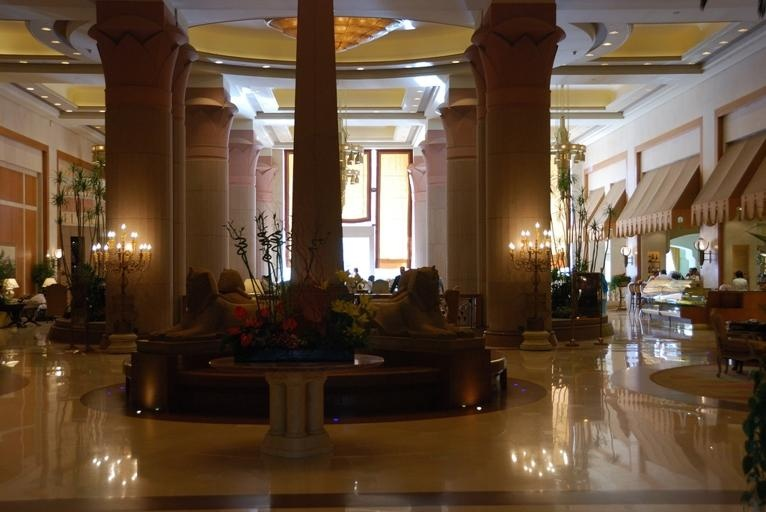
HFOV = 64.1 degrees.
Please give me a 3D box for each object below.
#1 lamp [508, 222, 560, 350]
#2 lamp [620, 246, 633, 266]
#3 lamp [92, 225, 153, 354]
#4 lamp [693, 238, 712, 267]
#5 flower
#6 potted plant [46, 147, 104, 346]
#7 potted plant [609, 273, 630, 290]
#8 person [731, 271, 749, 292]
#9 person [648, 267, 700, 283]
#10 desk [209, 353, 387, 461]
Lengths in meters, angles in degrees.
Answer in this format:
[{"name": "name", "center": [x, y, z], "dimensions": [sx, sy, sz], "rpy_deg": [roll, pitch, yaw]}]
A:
[{"name": "lamp", "center": [3.212, 0.620, 13.121], "dimensions": [0.970, 2.735, 0.700], "rpy_deg": [0, -3, -2]}, {"name": "lamp", "center": [10.997, 0.002, 27.488], "dimensions": [0.336, 0.882, 1.891], "rpy_deg": [-1, -3, 22]}, {"name": "lamp", "center": [-5.590, 0.682, 13.217], "dimensions": [1.258, 2.620, 1.135], "rpy_deg": [0, -3, -24]}, {"name": "lamp", "center": [11.249, -0.174, 21.470], "dimensions": [0.326, 1.039, 1.040], "rpy_deg": [-1, -3, 16]}, {"name": "flower", "center": [-1.247, 0.168, 7.750], "dimensions": [1.127, 1.717, 3.612], "rpy_deg": [0, -3, -11]}, {"name": "potted plant", "center": [-8.560, -0.956, 17.463], "dimensions": [0.959, 3.538, 1.002], "rpy_deg": [-6, -14, 32]}, {"name": "potted plant", "center": [10.715, 1.127, 27.474], "dimensions": [0.720, 0.511, 0.671], "rpy_deg": [0, -5, 3]}, {"name": "person", "center": [10.311, 0.683, 17.696], "dimensions": [0.373, 0.569, 2.318], "rpy_deg": [-2, -3, 30]}, {"name": "person", "center": [10.766, 0.706, 22.028], "dimensions": [1.024, 0.409, 1.030], "rpy_deg": [1, -2, 1]}, {"name": "desk", "center": [-0.941, 1.666, 6.660], "dimensions": [1.685, 0.952, 1.681], "rpy_deg": [16, -24, -37]}]
